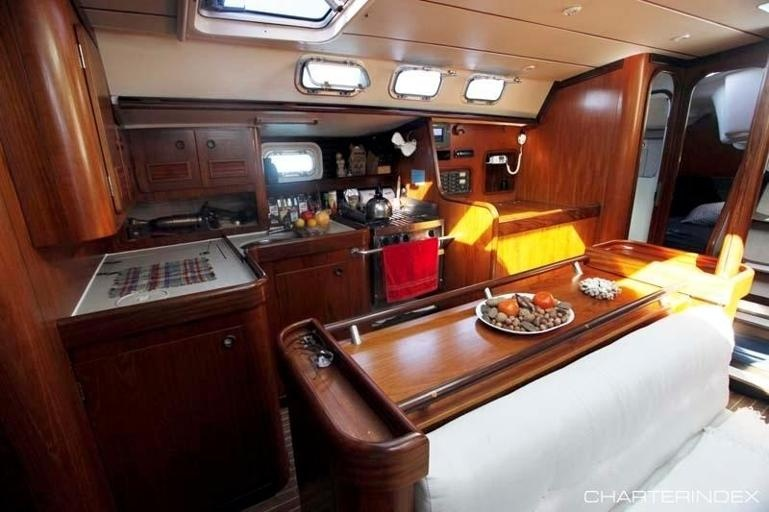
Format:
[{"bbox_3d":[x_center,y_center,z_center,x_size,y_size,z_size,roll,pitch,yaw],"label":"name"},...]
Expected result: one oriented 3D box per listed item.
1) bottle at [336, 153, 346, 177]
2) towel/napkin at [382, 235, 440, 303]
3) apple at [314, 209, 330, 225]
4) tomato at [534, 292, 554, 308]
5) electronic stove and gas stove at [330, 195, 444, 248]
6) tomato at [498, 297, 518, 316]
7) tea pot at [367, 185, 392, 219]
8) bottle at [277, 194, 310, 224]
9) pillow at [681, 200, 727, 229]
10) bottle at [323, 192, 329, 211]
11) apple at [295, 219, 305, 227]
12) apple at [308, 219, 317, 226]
[{"bbox_3d":[-0.429,-0.896,4.603,0.093,0.223,0.164,-4,19,-6],"label":"bottle"},{"bbox_3d":[0.222,0.108,4.293,0.591,0.485,0.078,-14,25,-30],"label":"towel/napkin"},{"bbox_3d":[-0.536,-0.324,4.133,0.127,0.129,0.163,-13,30,-7],"label":"apple"},{"bbox_3d":[0.948,0.267,2.790,0.093,0.087,0.092,1,-4,-11],"label":"tomato"},{"bbox_3d":[0.062,-0.336,4.522,0.813,0.405,0.559,-16,28,-29],"label":"electronic stove and gas stove"},{"bbox_3d":[0.723,0.298,2.730,0.091,0.090,0.091,0,8,-27],"label":"tomato"},{"bbox_3d":[-0.075,-0.520,4.417,0.281,0.301,0.281,-1,23,0],"label":"tea pot"},{"bbox_3d":[-0.831,-0.410,4.232,0.292,0.274,0.075,-1,-16,-19],"label":"bottle"},{"bbox_3d":[3.998,-0.515,5.923,0.376,0.278,0.526,10,22,31],"label":"pillow"},{"bbox_3d":[-0.572,-0.531,4.546,0.069,0.145,0.028,-2,19,1],"label":"bottle"},{"bbox_3d":[-0.725,-0.269,4.012,0.070,0.070,0.070,-10,28,-39],"label":"apple"},{"bbox_3d":[-0.620,-0.277,3.985,0.056,0.056,0.058,-16,36,-42],"label":"apple"}]
